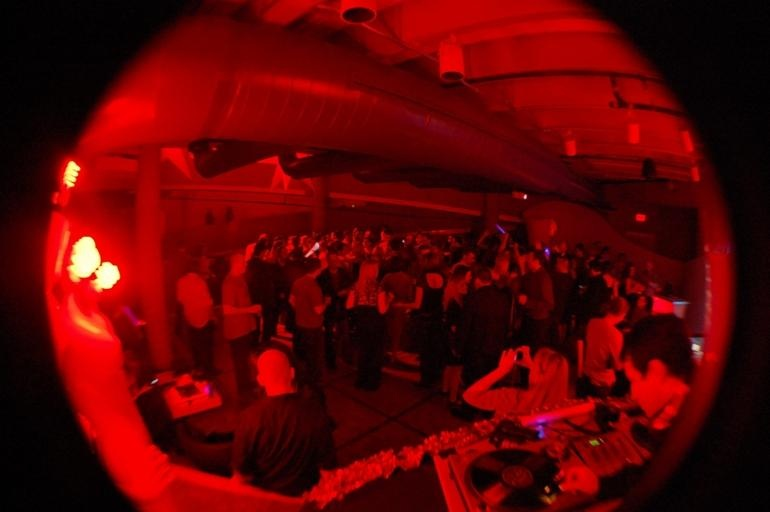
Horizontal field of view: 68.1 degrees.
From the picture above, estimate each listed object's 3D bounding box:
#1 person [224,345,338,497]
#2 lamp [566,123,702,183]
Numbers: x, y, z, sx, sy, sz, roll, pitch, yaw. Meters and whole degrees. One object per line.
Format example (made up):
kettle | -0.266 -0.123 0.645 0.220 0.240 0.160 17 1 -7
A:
person | -0.851 1.673 4.865 0.953 1.788 0.578 -8 22 -19
lamp | 4.596 -1.927 10.976 1.908 0.455 1.882 11 -3 -19
